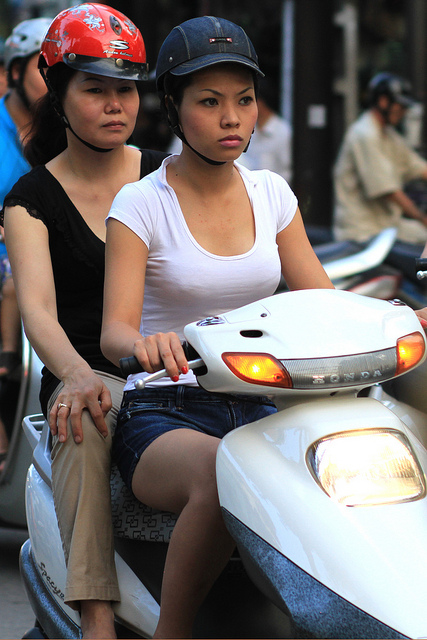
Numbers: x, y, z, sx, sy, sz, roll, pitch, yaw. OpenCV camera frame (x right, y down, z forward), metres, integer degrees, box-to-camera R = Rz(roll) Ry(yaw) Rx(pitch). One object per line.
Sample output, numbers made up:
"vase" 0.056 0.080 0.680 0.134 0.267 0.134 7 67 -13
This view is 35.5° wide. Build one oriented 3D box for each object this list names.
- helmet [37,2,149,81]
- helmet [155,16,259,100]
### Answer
"helmet" -0.388 -0.864 2.152 0.251 0.170 0.335 -4 16 -41
"helmet" -0.023 -0.633 1.612 0.234 0.174 0.236 -13 34 -10
